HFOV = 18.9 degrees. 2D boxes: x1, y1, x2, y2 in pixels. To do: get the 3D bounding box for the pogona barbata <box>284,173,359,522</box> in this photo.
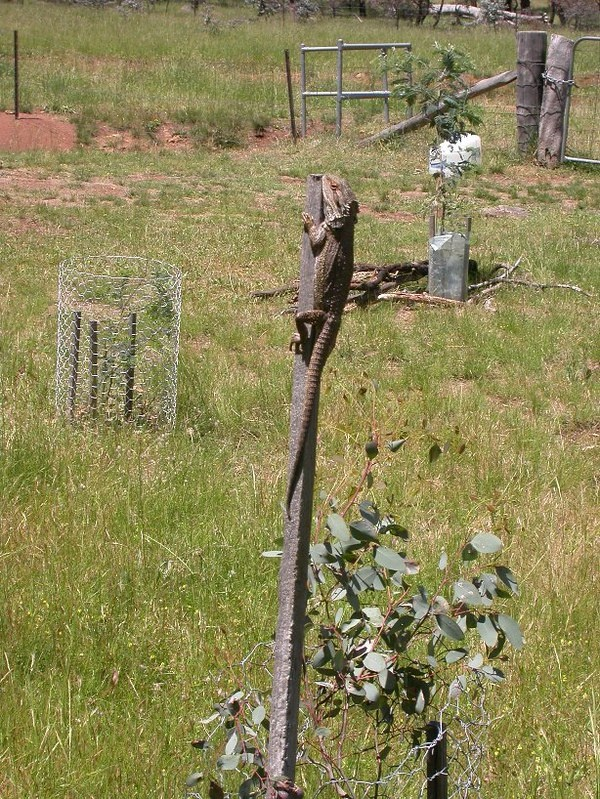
[{"bbox_3d":[0.130,-0.511,12.111,0.251,2.562,0.476,2,-13,16],"label":"pogona barbata"}]
